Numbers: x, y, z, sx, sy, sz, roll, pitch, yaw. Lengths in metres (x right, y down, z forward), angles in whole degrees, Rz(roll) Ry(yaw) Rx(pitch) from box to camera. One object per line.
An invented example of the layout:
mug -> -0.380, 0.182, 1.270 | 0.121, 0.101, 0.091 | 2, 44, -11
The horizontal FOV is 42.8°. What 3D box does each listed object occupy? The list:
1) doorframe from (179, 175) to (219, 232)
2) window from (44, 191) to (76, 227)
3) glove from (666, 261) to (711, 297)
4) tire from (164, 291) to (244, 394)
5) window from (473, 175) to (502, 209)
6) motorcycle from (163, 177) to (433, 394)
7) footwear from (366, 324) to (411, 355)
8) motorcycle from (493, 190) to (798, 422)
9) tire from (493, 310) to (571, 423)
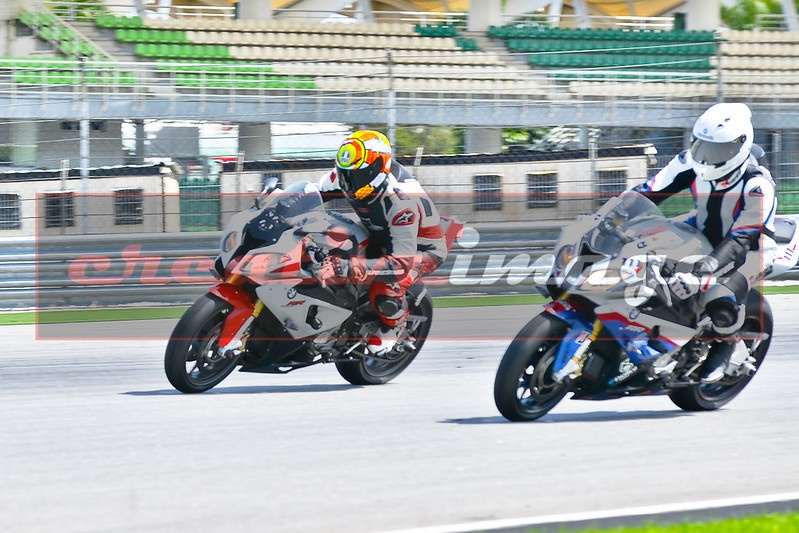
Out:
doorframe -> -2.584, -0.775, 12.745 | 0.607, 0.542, 0.406 | -2, 13, -35
window -> -4.111, -0.707, 12.416 | 0.708, 0.372, 0.045 | -3, -6, 6
glove -> 2.325, 0.093, 8.140 | 0.410, 0.297, 0.093 | 0, 8, -17
tire -> -1.676, 0.660, 8.641 | 0.326, 0.869, 0.516 | 10, 11, 44
window -> 1.151, -0.958, 13.024 | 0.064, 0.478, 0.515 | -5, 6, -42
motorcycle -> -0.831, 0.310, 9.488 | 1.149, 1.545, 3.478 | 8, 0, 32
footwear -> -0.144, 0.650, 9.168 | 0.422, 0.222, 0.113 | -32, 17, 4
motorcycle -> 1.896, 0.337, 8.256 | 2.227, 1.875, 0.584 | -1, 9, -24
tire -> 1.057, 0.803, 8.052 | 0.383, 0.900, 0.451 | 9, 10, 40
